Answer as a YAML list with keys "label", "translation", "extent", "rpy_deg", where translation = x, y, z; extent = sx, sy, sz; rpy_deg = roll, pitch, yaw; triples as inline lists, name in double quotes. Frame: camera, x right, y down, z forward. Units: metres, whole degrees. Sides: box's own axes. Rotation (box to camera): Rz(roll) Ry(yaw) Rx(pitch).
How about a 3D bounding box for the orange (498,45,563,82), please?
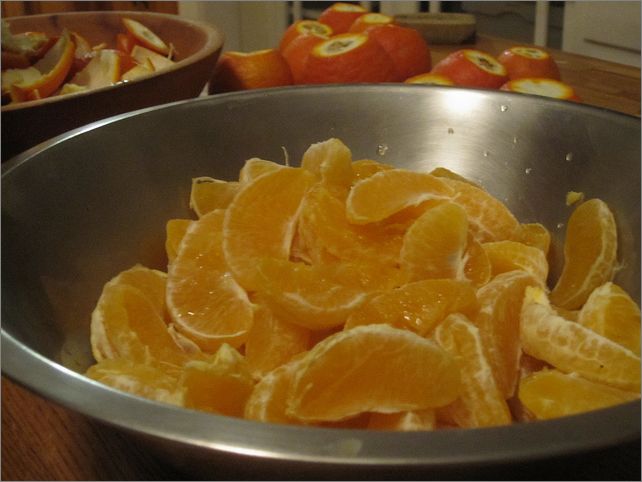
- label: "orange"
  translation: [0.420, -0.348, 1.398]
  extent: [0.105, 0.086, 0.111]
  rpy_deg: [1, -4, -10]

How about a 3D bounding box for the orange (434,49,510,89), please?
- label: "orange"
  translation: [0.264, -0.327, 1.319]
  extent: [0.079, 0.059, 0.088]
  rpy_deg: [8, 2, -12]

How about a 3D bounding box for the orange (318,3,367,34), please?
- label: "orange"
  translation: [0.047, -0.536, 1.685]
  extent: [0.109, 0.115, 0.118]
  rpy_deg: [-1, 23, -5]

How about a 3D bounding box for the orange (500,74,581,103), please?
- label: "orange"
  translation: [0.369, -0.261, 1.174]
  extent: [0.094, 0.043, 0.103]
  rpy_deg: [9, 29, -2]
